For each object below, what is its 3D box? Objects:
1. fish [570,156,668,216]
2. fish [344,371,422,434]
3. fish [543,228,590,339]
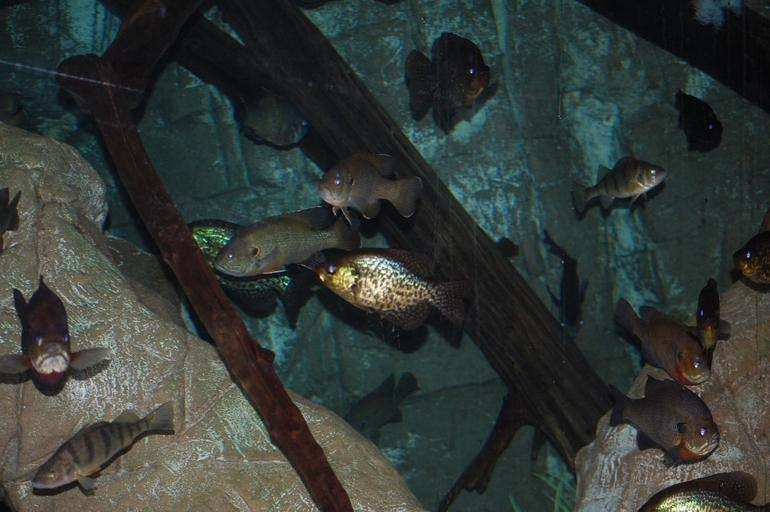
[{"bbox_3d":[2.320,-0.716,11.842,0.645,0.552,1.176,-10,-1,-3],"label":"fish"},{"bbox_3d":[-0.051,1.506,12.278,0.785,0.346,0.182,-38,3,-2],"label":"fish"},{"bbox_3d":[1.894,0.297,12.495,0.358,1.052,0.415,-4,-7,-20],"label":"fish"}]
